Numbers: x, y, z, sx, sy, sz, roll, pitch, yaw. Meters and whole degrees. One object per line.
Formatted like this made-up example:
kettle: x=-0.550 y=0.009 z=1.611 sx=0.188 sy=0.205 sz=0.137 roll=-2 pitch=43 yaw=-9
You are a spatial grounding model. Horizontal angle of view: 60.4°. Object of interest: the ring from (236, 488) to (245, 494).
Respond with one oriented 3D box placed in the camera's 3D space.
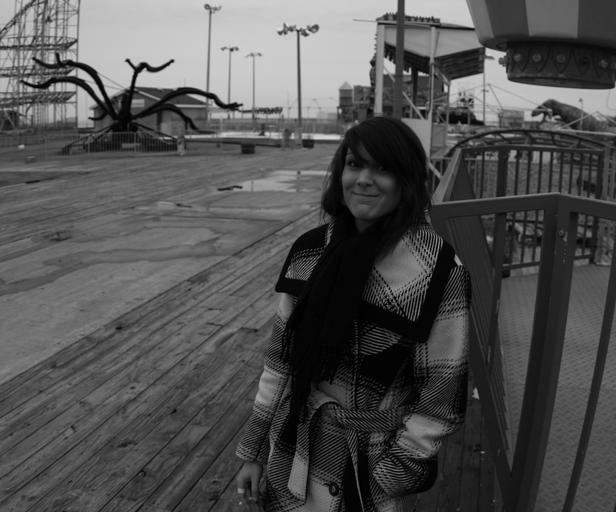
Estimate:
ring: x=-0.240 y=0.839 z=1.900 sx=0.024 sy=0.022 sz=0.026 roll=1 pitch=-12 yaw=-11
